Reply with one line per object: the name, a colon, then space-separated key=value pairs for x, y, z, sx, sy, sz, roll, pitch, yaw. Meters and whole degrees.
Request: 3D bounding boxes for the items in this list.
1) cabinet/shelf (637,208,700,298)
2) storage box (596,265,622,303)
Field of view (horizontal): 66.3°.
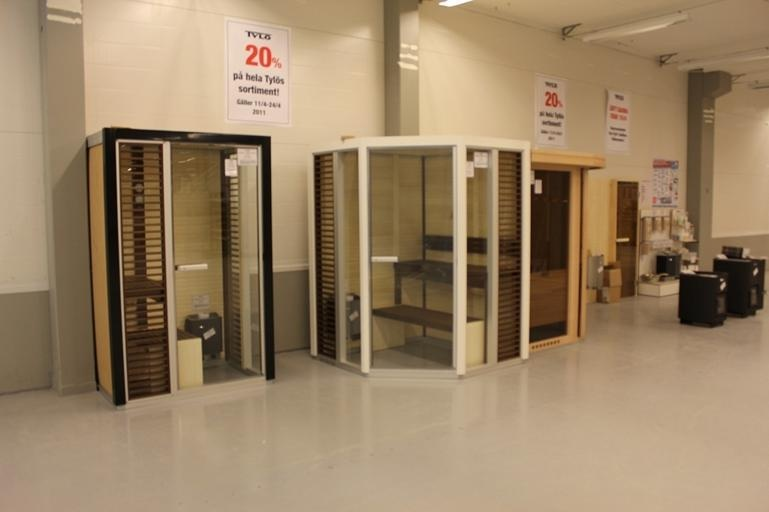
cabinet/shelf: x=6.289 y=-0.143 z=13.003 sx=1.965 sy=1.791 sz=0.679 roll=-4 pitch=9 yaw=-40
storage box: x=4.517 y=0.531 z=11.755 sx=0.321 sy=0.737 sz=0.541 roll=9 pitch=15 yaw=40
